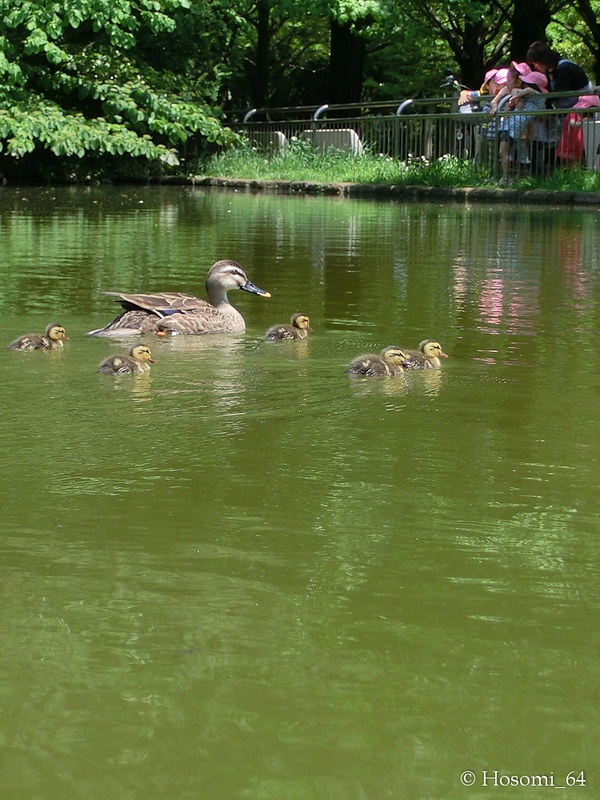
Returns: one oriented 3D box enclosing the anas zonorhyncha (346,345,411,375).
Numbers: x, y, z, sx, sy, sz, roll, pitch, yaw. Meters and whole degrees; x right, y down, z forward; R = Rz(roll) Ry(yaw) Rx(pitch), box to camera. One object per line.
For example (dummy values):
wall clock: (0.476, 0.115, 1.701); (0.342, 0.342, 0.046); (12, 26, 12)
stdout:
anas zonorhyncha: (0.451, -0.224, 5.774); (0.306, 0.170, 0.156); (1, 8, -21)

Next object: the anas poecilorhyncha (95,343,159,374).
anas poecilorhyncha: (-0.966, -0.237, 5.634); (0.286, 0.159, 0.149); (-3, 13, -31)

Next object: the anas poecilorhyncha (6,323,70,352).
anas poecilorhyncha: (-1.630, -0.392, 6.270); (0.326, 0.177, 0.169); (1, 5, -18)

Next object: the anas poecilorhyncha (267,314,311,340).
anas poecilorhyncha: (-0.072, -0.503, 6.991); (0.307, 0.182, 0.161); (-3, 13, -30)

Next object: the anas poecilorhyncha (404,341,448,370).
anas poecilorhyncha: (0.735, -0.264, 5.905); (0.265, 0.154, 0.138); (-1, 20, -1)
